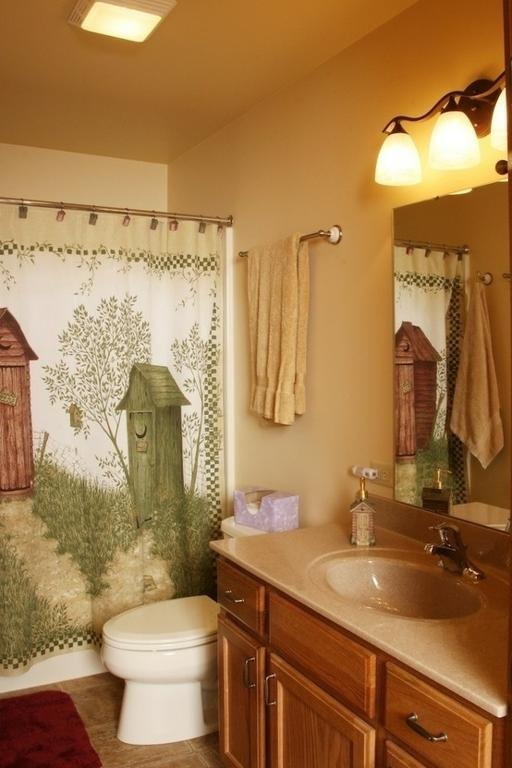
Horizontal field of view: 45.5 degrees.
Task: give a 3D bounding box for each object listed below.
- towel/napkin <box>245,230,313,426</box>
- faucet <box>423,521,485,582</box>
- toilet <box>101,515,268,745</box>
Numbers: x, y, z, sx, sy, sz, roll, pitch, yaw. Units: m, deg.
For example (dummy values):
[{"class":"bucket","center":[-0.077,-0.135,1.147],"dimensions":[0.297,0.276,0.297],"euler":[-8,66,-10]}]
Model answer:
[{"class":"towel/napkin","center":[0.074,-0.186,2.242],"dimensions":[0.152,0.658,0.400],"euler":[-8,4,-29]},{"class":"faucet","center":[0.437,0.352,1.335],"dimensions":[0.062,0.130,0.163],"euler":[-4,11,-35]},{"class":"toilet","center":[-0.256,0.886,2.148],"dimensions":[0.535,0.652,0.300],"euler":[0,5,-18]}]
